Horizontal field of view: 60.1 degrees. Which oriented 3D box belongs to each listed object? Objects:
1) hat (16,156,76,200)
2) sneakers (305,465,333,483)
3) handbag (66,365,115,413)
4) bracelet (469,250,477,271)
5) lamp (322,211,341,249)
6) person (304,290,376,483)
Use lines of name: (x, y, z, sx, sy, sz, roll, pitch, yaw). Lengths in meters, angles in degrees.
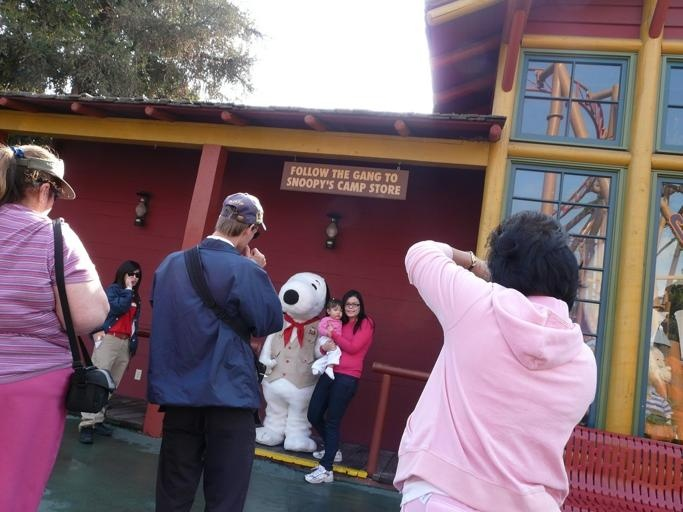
hat: (-1.728, -0.445, 3.490, 0.174, 0.126, 0.264, 2, -18, 35)
sneakers: (-0.212, 2.213, 5.999, 0.305, 0.187, 0.128, 6, -2, -15)
handbag: (-1.433, 0.759, 3.366, 0.221, 0.285, 0.281, 6, -5, -34)
bracelet: (0.695, 0.028, 3.119, 0.029, 0.080, 0.081, 5, 8, 7)
lamp: (-0.124, -0.342, 7.963, 0.198, 0.499, 0.184, 8, -1, 7)
person: (-0.063, 1.332, 6.342, 0.560, 1.981, 0.943, 7, -1, 19)
